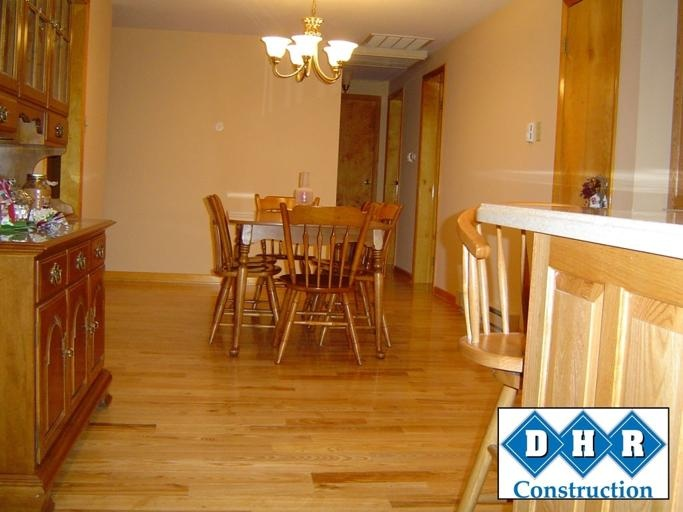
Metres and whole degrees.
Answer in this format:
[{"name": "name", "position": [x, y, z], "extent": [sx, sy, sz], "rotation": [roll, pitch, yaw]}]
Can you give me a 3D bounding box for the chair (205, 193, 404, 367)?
[{"name": "chair", "position": [-0.250, 0.118, 3.961], "extent": [1.222, 1.042, 1.412], "rotation": [4, 7, 8]}]
